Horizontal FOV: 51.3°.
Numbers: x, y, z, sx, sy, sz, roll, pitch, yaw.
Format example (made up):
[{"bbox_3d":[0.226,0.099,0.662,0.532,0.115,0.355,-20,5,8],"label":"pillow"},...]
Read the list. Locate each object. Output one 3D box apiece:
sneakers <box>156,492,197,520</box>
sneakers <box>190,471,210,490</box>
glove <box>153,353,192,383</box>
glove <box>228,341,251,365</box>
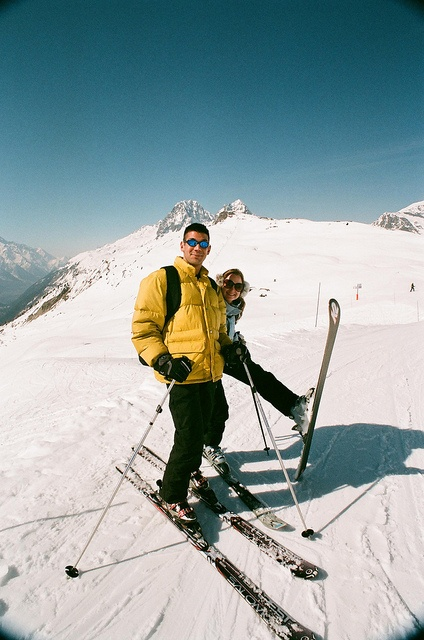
[{"bbox_3d":[-0.333,1.727,4.118,0.376,0.174,0.160,12,1,44],"label":"sneakers"},{"bbox_3d":[-0.133,1.702,4.605,0.146,0.079,0.220,-30,59,-28],"label":"sneakers"},{"bbox_3d":[-0.336,0.406,3.833,0.250,0.259,0.118,-12,-31,-23],"label":"glove"},{"bbox_3d":[0.270,0.357,4.806,0.241,0.242,0.175,-14,23,6],"label":"glove"}]
